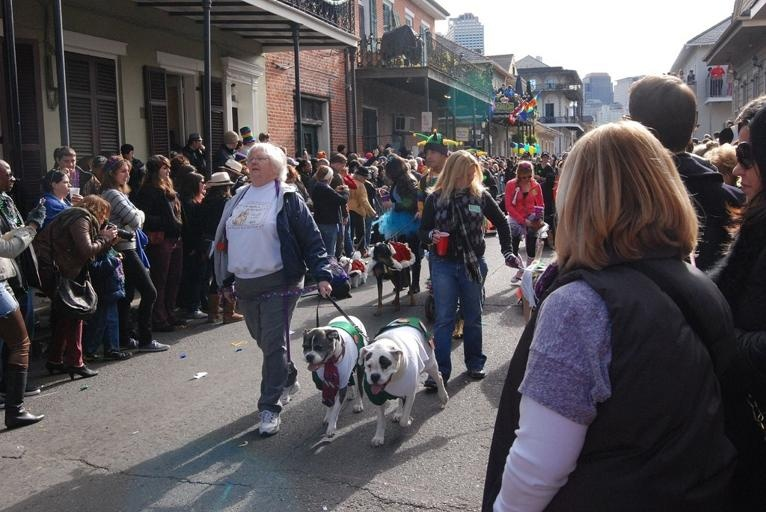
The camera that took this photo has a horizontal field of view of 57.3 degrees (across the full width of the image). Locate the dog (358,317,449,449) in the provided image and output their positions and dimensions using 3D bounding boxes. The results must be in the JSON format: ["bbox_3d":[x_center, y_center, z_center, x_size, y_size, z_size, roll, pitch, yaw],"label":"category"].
[{"bbox_3d":[0.180,1.130,6.680,0.549,1.063,1.600,-2,9,20],"label":"dog"}]

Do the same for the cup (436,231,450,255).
[{"bbox_3d":[0.601,-0.118,7.122,0.179,0.216,0.183,-1,5,0],"label":"cup"}]

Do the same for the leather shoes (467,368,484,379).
[{"bbox_3d":[0.996,1.257,7.474,0.073,0.077,0.162,2,-8,-22],"label":"leather shoes"}]

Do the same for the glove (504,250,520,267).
[{"bbox_3d":[1.367,0.046,7.415,0.116,0.103,0.280,5,-4,-9],"label":"glove"}]

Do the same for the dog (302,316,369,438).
[{"bbox_3d":[-0.434,1.101,6.733,0.399,1.007,1.423,1,4,13],"label":"dog"}]

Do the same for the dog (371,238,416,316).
[{"bbox_3d":[0.171,0.217,11.179,0.582,1.024,1.845,-3,1,14],"label":"dog"}]

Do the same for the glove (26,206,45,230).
[{"bbox_3d":[-3.856,-0.431,7.797,0.121,0.263,0.347,1,16,-22],"label":"glove"}]

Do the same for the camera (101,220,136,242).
[{"bbox_3d":[-3.135,-0.283,8.216,0.230,0.082,0.237,22,-1,-42],"label":"camera"}]

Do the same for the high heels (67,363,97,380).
[{"bbox_3d":[-3.440,1.307,8.000,0.300,0.133,0.155,-6,8,-26],"label":"high heels"}]

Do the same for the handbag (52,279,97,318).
[{"bbox_3d":[-3.389,0.457,7.658,0.177,0.354,0.345,-22,-20,25],"label":"handbag"}]

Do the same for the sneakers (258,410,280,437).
[{"bbox_3d":[-1.051,1.496,6.460,0.184,0.194,0.293,-2,12,1],"label":"sneakers"}]
